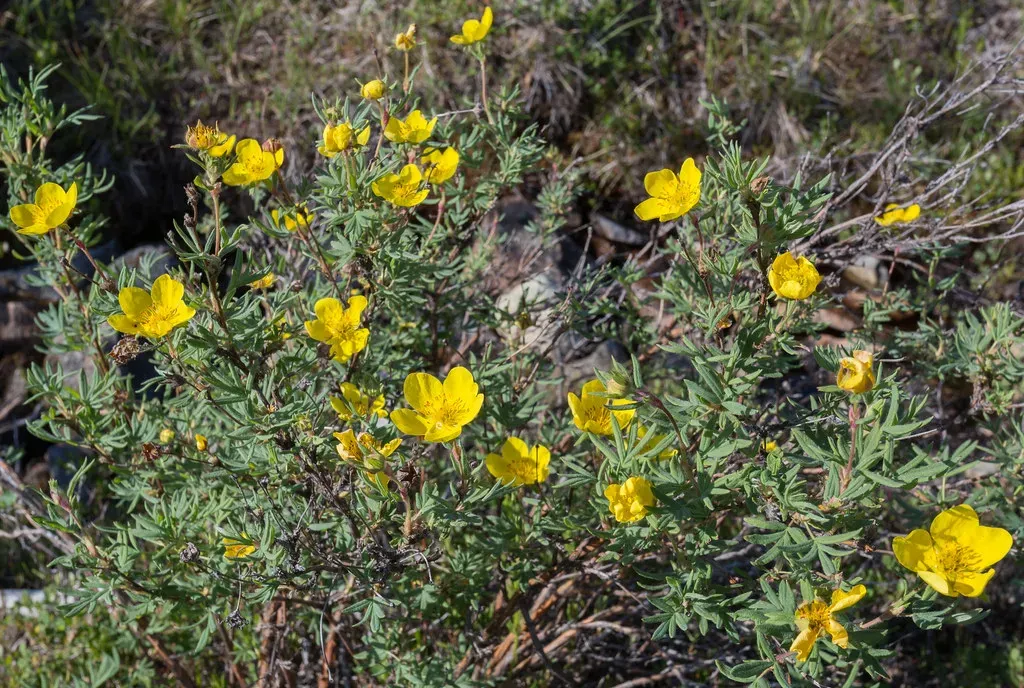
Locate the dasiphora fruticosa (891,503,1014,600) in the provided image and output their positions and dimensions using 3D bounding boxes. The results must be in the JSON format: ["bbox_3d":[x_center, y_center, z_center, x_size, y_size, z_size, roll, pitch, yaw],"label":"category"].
[{"bbox_3d":[1.563,0.712,3.172,0.339,0.121,0.328,42,64,14],"label":"dasiphora fruticosa"}]

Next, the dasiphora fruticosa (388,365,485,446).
[{"bbox_3d":[-0.286,0.224,3.332,0.294,0.171,0.328,30,61,8],"label":"dasiphora fruticosa"}]

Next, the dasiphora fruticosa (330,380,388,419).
[{"bbox_3d":[-0.618,0.243,3.538,0.164,0.087,0.168,34,35,22],"label":"dasiphora fruticosa"}]

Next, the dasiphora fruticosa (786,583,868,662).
[{"bbox_3d":[1.049,0.944,3.143,0.292,0.351,0.130,-5,83,-39],"label":"dasiphora fruticosa"}]

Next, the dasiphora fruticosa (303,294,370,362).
[{"bbox_3d":[-0.694,-0.045,3.529,0.235,0.206,0.209,-7,61,-12],"label":"dasiphora fruticosa"}]

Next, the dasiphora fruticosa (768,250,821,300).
[{"bbox_3d":[1.034,-0.228,3.320,0.176,0.128,0.159,35,75,17],"label":"dasiphora fruticosa"}]

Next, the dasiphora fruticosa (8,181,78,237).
[{"bbox_3d":[-1.822,-0.520,3.454,0.116,0.248,0.210,46,75,-24],"label":"dasiphora fruticosa"}]

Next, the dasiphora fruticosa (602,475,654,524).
[{"bbox_3d":[0.435,0.583,3.286,0.175,0.199,0.147,-9,61,-12],"label":"dasiphora fruticosa"}]

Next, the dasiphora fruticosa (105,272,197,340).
[{"bbox_3d":[-1.331,-0.115,3.280,0.308,0.148,0.222,-15,64,-16],"label":"dasiphora fruticosa"}]

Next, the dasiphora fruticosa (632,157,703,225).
[{"bbox_3d":[0.600,-0.582,3.416,0.107,0.235,0.268,25,33,-38],"label":"dasiphora fruticosa"}]

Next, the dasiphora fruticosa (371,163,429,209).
[{"bbox_3d":[-0.441,-0.609,3.524,0.171,0.091,0.192,-13,65,-14],"label":"dasiphora fruticosa"}]

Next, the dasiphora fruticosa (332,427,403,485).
[{"bbox_3d":[-0.542,0.401,3.264,0.221,0.220,0.111,31,98,-16],"label":"dasiphora fruticosa"}]
